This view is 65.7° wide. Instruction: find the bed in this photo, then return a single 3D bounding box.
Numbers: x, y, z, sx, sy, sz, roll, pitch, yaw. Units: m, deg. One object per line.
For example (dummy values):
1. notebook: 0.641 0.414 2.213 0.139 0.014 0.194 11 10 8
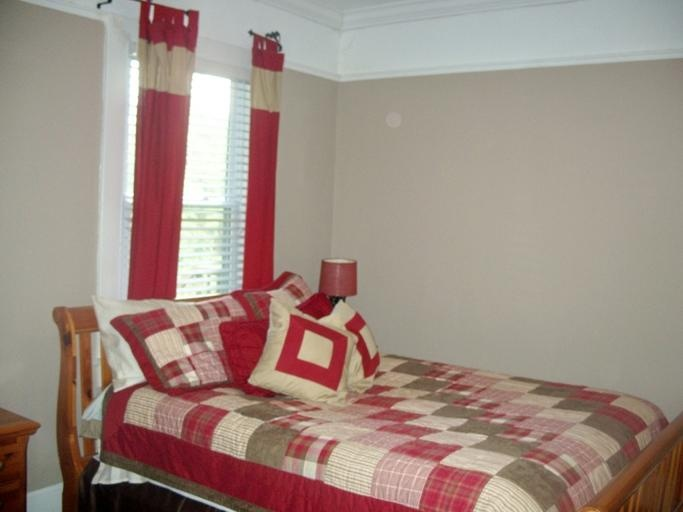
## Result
1. bed: 0.066 0.739 2.581 1.862 0.936 1.162 0 7 17
